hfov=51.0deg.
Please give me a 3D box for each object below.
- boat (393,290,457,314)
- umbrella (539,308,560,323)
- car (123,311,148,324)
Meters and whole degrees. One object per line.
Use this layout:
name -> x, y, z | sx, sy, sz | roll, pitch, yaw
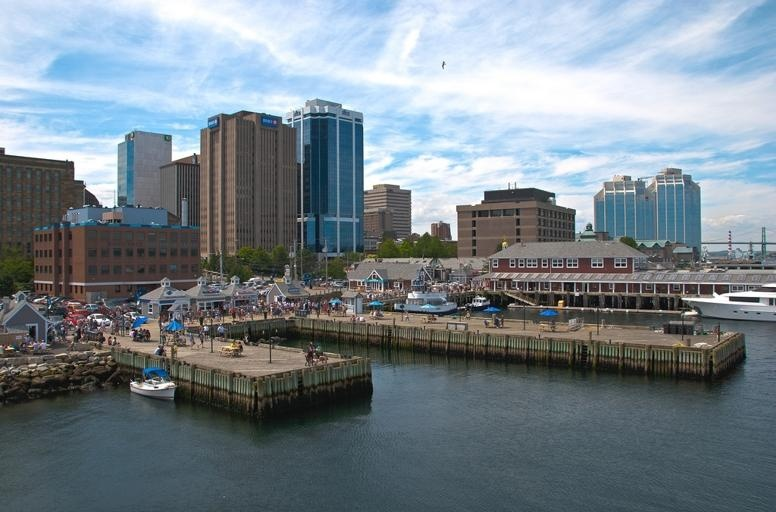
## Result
boat -> 6.802, 8.598, 149.581 | 8.294, 3.012, 5.376 | 1, -1, 25
umbrella -> 27.212, 9.846, 136.004 | 3.149, 1.924, 2.891 | 0, 0, -3
car -> -38.417, 9.468, 123.557 | 5.282, 1.383, 2.531 | -4, -3, 41
